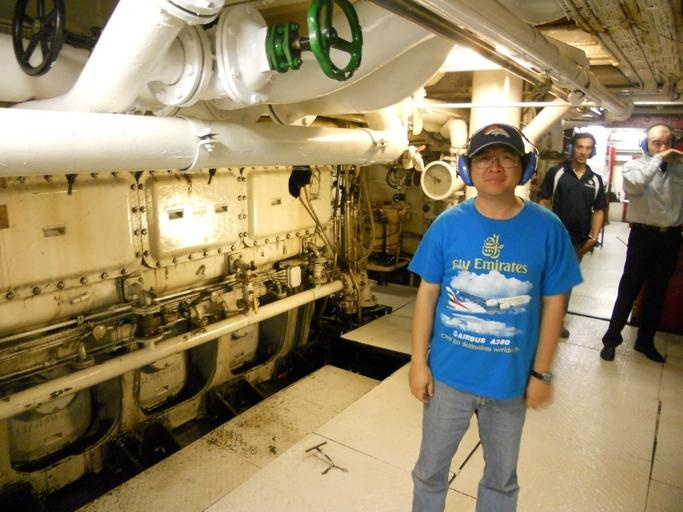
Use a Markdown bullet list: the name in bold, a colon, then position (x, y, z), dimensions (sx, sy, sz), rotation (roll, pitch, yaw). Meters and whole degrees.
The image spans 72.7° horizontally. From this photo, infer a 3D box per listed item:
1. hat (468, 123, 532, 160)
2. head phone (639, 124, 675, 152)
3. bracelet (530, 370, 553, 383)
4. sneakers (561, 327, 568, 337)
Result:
- **hat**: position (0.801, -0.583, 2.353), dimensions (0.316, 0.176, 0.193), rotation (0, 13, 1)
- **head phone**: position (3.113, -1.155, 4.623), dimensions (0.240, 0.279, 0.319), rotation (-1, 5, 20)
- **bracelet**: position (1.019, 0.620, 2.362), dimensions (0.094, 0.058, 0.103), rotation (2, -20, 35)
- **sneakers**: position (2.572, 0.897, 5.374), dimensions (0.063, 0.118, 0.126), rotation (-4, 5, 2)
